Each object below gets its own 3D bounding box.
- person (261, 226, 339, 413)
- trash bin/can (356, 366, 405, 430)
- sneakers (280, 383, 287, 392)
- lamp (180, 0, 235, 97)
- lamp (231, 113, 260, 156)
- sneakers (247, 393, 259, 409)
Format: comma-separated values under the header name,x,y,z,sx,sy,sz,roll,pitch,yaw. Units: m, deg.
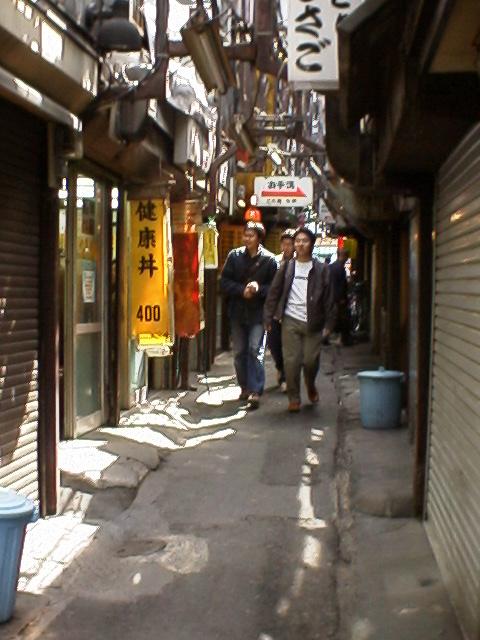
name,x,y,z,sx,sy,sz,roll,pitch,yaw
person,0.694,0.017,6.506,0.818,2.175,0.635,0,2,14
trash bin/can,1.377,0.675,5.435,0.403,0.649,0.497,-7,19,-1
sneakers,0.645,1.009,8.161,0.079,0.066,0.158,0,0,-1
lamp,-0.328,-2.623,5.311,0.417,0.375,1.452,-5,-2,5
lamp,0.093,-3.421,10.201,0.116,0.558,0.527,-21,-41,-3
sneakers,0.165,1.030,6.970,0.146,0.179,0.227,0,3,12
